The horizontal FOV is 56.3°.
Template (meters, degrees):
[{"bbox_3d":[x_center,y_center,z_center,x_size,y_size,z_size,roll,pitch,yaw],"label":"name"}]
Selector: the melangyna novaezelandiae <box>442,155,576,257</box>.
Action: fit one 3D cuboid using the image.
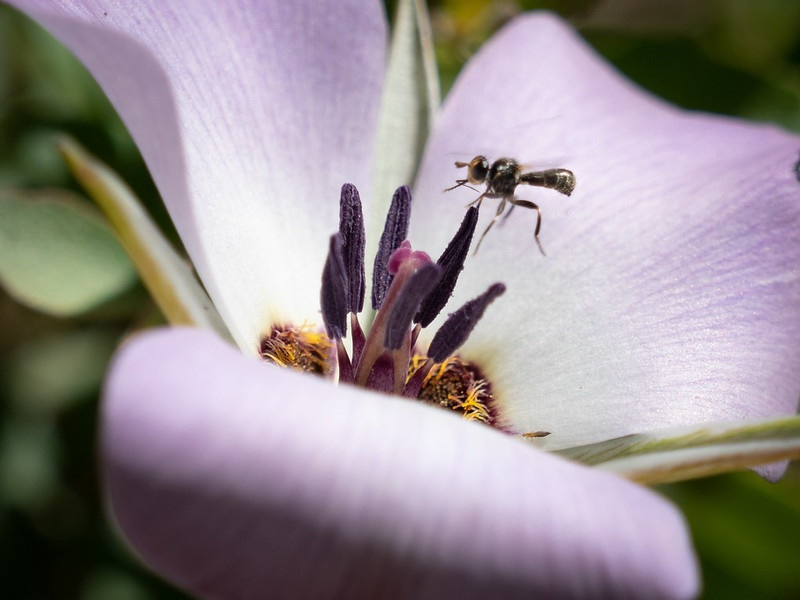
[{"bbox_3d":[0.189,-0.158,1.302,0.168,0.088,0.206,9,43,-4],"label":"melangyna novaezelandiae"}]
